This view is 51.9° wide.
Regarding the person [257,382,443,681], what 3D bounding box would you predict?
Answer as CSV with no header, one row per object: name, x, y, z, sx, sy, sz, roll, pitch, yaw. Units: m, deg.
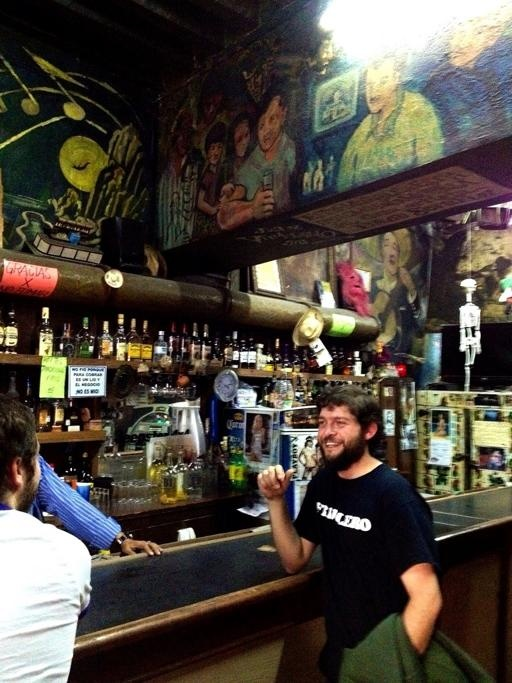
person,0.261,0.547,1.476,0.293,0.822,0.584,7,-5,-27

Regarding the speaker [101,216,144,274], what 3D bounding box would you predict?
speaker,-0.867,-0.596,3.333,0.313,0.346,0.208,4,-5,0
